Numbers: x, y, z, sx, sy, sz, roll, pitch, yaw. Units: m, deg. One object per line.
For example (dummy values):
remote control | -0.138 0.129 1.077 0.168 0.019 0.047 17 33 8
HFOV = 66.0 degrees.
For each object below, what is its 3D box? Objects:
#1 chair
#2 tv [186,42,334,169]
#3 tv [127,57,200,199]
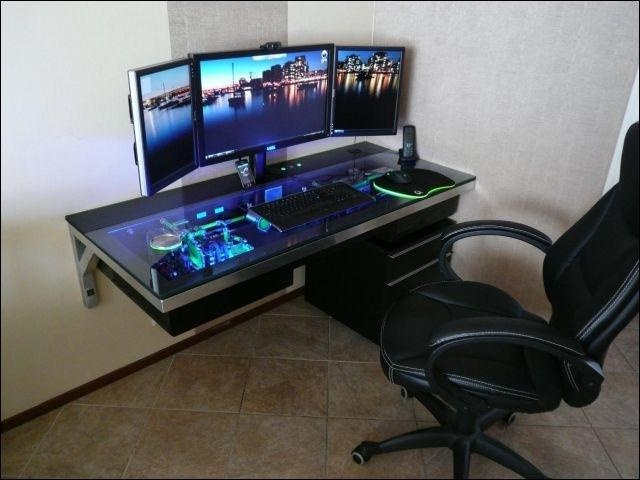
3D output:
chair | 0.733 -0.096 2.780 1.395 2.147 1.295 10 34 16
tv | -0.320 -0.722 2.534 0.730 0.483 0.097 -20 39 -30
tv | -0.692 -0.529 2.182 0.080 0.645 0.522 12 25 17
